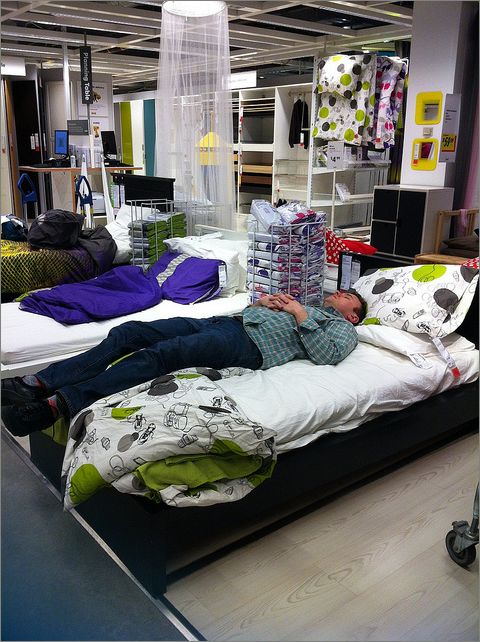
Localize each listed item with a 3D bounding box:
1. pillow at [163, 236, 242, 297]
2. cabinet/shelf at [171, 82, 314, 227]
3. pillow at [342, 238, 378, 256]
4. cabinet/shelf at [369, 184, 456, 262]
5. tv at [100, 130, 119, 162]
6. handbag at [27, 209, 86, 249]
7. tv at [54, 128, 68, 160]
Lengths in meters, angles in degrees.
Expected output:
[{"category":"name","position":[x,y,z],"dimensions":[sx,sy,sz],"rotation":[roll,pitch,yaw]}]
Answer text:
[{"category":"pillow","position":[-0.264,-0.548,3.953],"dimensions":[0.594,0.495,0.184],"rotation":[11,1,42]},{"category":"cabinet/shelf","position":[-0.015,-2.842,8.525],"dimensions":[2.532,2.301,0.710],"rotation":[1,11,1]},{"category":"pillow","position":[1.013,-0.626,4.036],"dimensions":[0.184,0.065,0.182],"rotation":[-14,29,-38]},{"category":"cabinet/shelf","position":[1.488,-0.865,4.140],"dimensions":[0.346,0.553,0.611],"rotation":[-9,19,-29]},{"category":"tv","position":[-2.079,-2.781,7.479],"dimensions":[0.212,0.525,0.694],"rotation":[-1,10,-14]},{"category":"handbag","position":[-1.592,-0.774,4.045],"dimensions":[0.425,0.348,0.147],"rotation":[-1,-26,8]},{"category":"tv","position":[-2.492,-2.487,6.568],"dimensions":[0.161,0.336,0.349],"rotation":[-3,11,-23]}]
